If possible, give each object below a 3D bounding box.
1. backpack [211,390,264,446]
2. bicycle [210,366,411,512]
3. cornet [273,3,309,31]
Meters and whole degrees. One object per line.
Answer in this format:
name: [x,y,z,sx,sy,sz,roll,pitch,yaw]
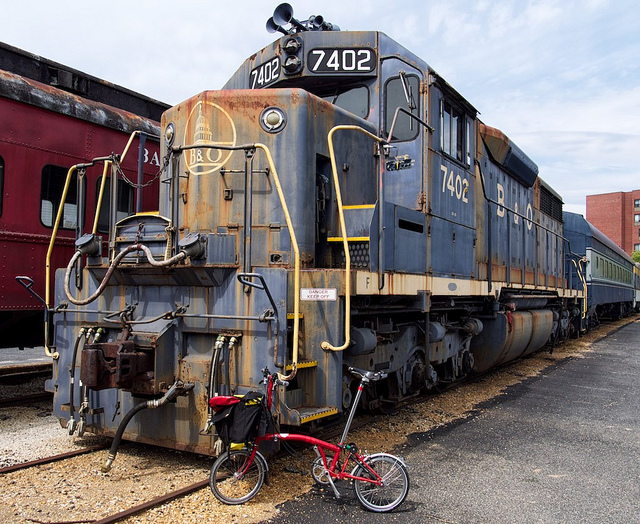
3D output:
backpack: [-0.759,1.403,4.592,0.354,0.556,0.386,15,-18,-21]
bicycle: [-0.091,1.626,4.664,1.810,1.560,1.048,1,28,-1]
cornet: [-0.395,-3.282,6.774,0.472,0.377,0.299,1,0,-3]
